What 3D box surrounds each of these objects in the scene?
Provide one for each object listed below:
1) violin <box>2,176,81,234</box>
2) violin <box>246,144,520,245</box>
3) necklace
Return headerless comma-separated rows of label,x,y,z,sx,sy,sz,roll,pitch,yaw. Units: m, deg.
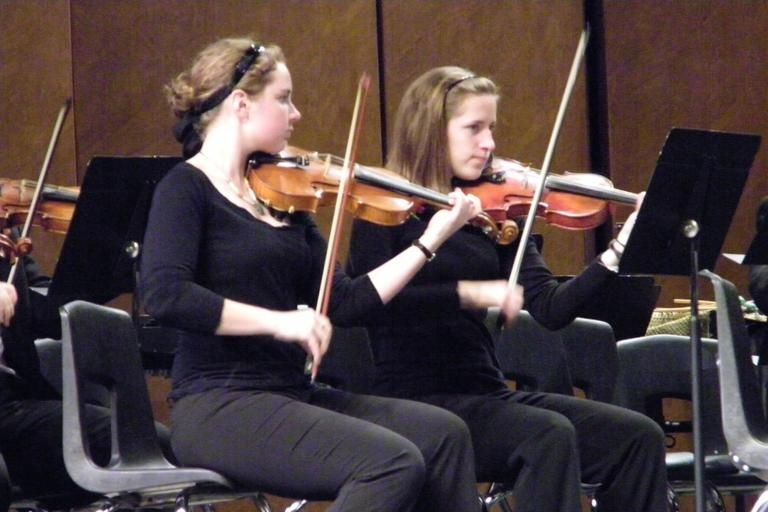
violin,-1.123,-0.147,3.296,0.401,0.152,0.077,11,-42,-2
violin,-0.011,-0.211,2.930,0.736,0.141,0.290,17,8,-10
necklace,-0.483,-0.202,2.797,0.170,0.184,0.224,-9,8,-24
